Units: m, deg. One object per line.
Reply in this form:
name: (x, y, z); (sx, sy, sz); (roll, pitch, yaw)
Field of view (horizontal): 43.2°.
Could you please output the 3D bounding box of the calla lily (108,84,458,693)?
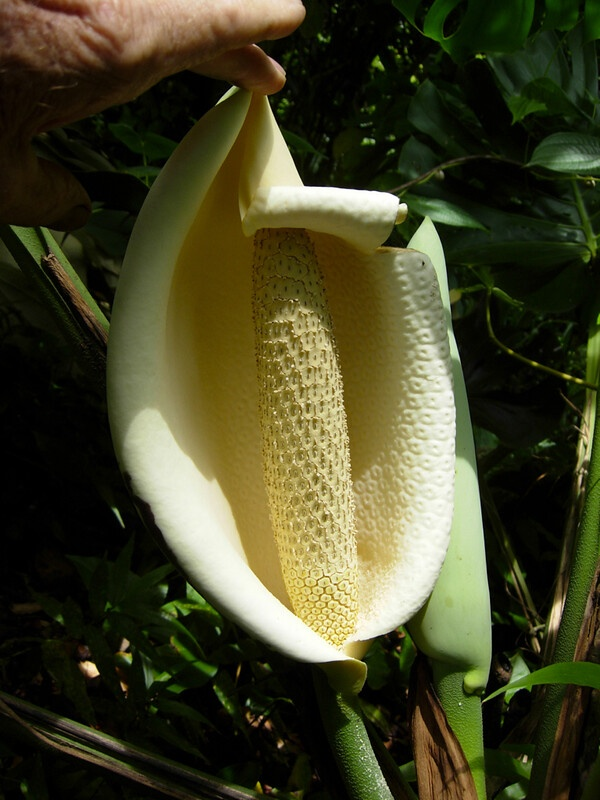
calla lily: (-0.054, -0.022, 0.622); (0.268, 0.176, 0.434); (-2, 79, -29)
